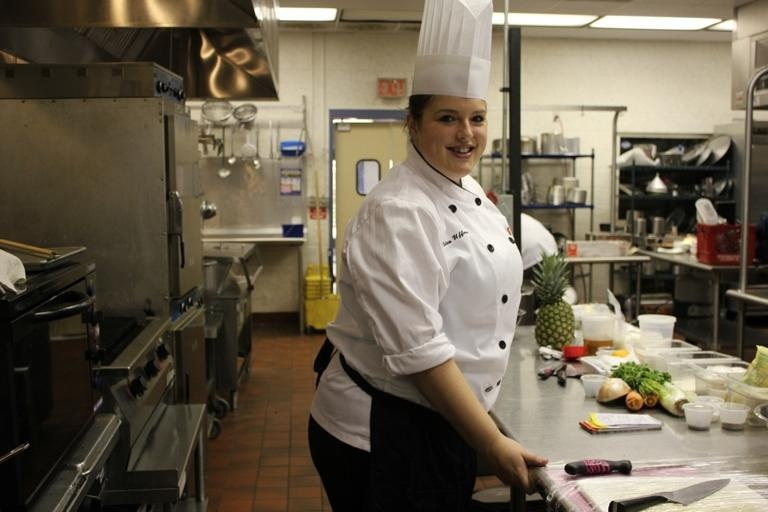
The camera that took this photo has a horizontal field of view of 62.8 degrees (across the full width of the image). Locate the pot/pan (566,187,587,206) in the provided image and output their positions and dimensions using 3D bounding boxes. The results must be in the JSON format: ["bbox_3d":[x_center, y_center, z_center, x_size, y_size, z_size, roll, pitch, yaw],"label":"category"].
[{"bbox_3d":[2.314,-0.715,7.639,0.240,0.204,0.168,6,11,28],"label":"pot/pan"}]

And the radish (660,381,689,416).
[{"bbox_3d":[1.106,0.550,2.407,0.099,0.098,0.100,6,11,25],"label":"radish"}]

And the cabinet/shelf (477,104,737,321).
[{"bbox_3d":[2.306,-0.480,6.214,2.570,3.086,0.921,0,-2,-5],"label":"cabinet/shelf"}]

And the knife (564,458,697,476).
[{"bbox_3d":[0.790,0.678,2.034,0.435,0.045,0.073,1,10,-2],"label":"knife"}]

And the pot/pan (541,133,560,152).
[{"bbox_3d":[1.981,-1.349,7.517,0.218,0.198,0.198,0,4,8],"label":"pot/pan"}]

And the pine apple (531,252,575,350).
[{"bbox_3d":[0.841,0.242,3.082,0.183,0.467,0.181,-11,0,-5],"label":"pine apple"}]

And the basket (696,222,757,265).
[{"bbox_3d":[3.080,-0.062,5.560,0.357,0.356,0.364,0,-8,26],"label":"basket"}]
